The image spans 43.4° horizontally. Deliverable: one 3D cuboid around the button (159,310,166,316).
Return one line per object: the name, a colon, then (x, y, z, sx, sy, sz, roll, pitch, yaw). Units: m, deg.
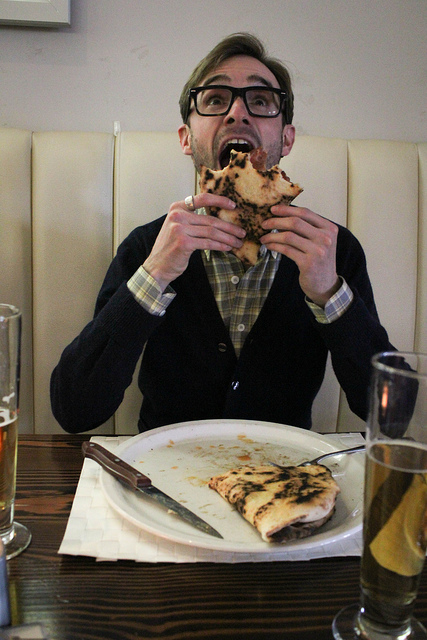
button: (-0.113, -0.015, 1.176, 0.002, 0.013, 0.018, 6, 10, 28)

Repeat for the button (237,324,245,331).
button: (0.070, 0.021, 1.418, 0.019, 0.019, 0.005, -4, -1, -7)

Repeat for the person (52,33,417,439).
person: (0.067, -0.234, 1.378, 0.732, 1.083, 0.752, 7, 10, 33)

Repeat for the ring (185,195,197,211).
ring: (-0.047, -0.233, 1.078, 0.028, 0.034, 0.034, -2, 19, -11)

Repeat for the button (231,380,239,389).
button: (0.051, 0.160, 1.322, 0.017, 0.013, 0.019, 1, -33, -2)

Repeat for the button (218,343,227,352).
button: (0.021, 0.071, 1.366, 0.026, 0.022, 0.007, 5, 10, 25)

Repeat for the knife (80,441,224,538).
knife: (-0.091, 0.247, 0.769, 0.026, 0.018, 0.204, -8, 19, -44)
